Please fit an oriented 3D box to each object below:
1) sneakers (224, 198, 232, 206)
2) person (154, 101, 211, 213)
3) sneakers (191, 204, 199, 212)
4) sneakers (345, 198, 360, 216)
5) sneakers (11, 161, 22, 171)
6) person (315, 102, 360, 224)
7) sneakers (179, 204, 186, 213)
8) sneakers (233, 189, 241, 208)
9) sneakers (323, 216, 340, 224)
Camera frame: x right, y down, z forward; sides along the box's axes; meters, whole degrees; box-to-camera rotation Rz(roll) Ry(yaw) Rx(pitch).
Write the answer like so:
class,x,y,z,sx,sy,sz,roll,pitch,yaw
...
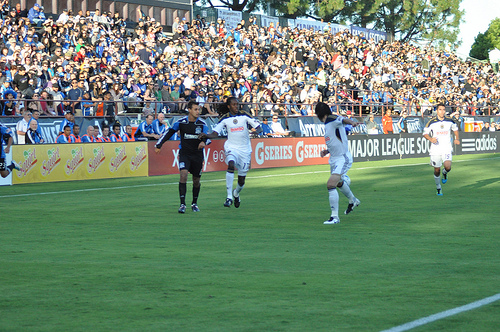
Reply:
class,x,y,z,sx,sy,sz,roll,pitch,yaw
sneakers,-0.576,0.965,19.984,0.184,0.130,0.240,1,0,0
person,-1.647,-0.266,19.541,1.160,2.887,1.325,1,6,-6
sneakers,-1.432,1.081,19.613,0.138,0.154,0.240,2,8,-9
sneakers,2.648,1.059,19.258,0.220,0.466,0.171,50,-17,-26
sneakers,-7.375,-0.017,23.594,0.258,0.189,0.545,3,-11,10
person,2.165,-0.116,18.468,1.071,2.906,1.604,2,6,8
sneakers,-1.747,1.091,19.275,0.159,0.240,0.205,0,6,-13
sneakers,-0.307,0.857,19.987,0.177,0.464,0.208,-6,13,-9
sneakers,1.978,1.295,17.990,0.332,0.119,0.177,-1,-1,-2
